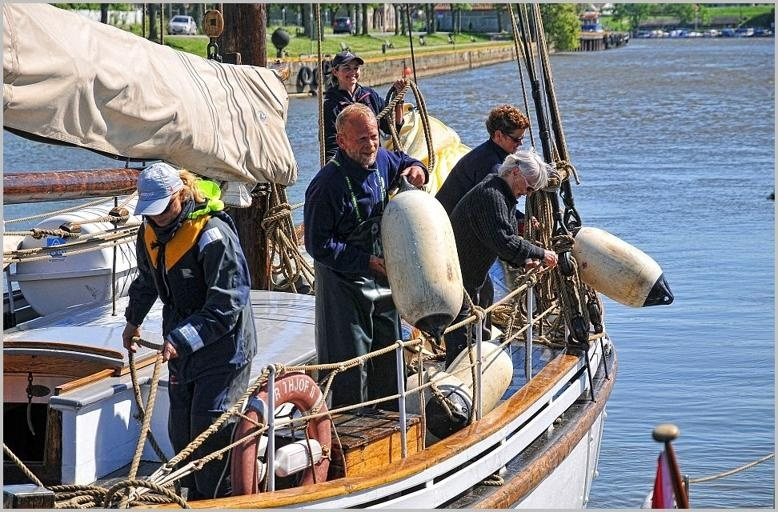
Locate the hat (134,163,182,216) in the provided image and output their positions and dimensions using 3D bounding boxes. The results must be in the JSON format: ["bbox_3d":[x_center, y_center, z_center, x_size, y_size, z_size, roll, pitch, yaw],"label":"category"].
[{"bbox_3d":[-2.625,-0.750,19.146,0.423,0.351,0.621,1,36,23],"label":"hat"}]

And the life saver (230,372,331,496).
[{"bbox_3d":[-1.231,2.032,19.227,1.206,1.249,0.492,-5,11,-6],"label":"life saver"}]

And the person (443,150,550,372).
[{"bbox_3d":[1.394,0.022,20.997,1.538,2.744,1.147,4,-5,24],"label":"person"}]

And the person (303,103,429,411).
[{"bbox_3d":[-0.327,0.043,20.025,1.272,3.669,0.699,-6,11,-10],"label":"person"}]
